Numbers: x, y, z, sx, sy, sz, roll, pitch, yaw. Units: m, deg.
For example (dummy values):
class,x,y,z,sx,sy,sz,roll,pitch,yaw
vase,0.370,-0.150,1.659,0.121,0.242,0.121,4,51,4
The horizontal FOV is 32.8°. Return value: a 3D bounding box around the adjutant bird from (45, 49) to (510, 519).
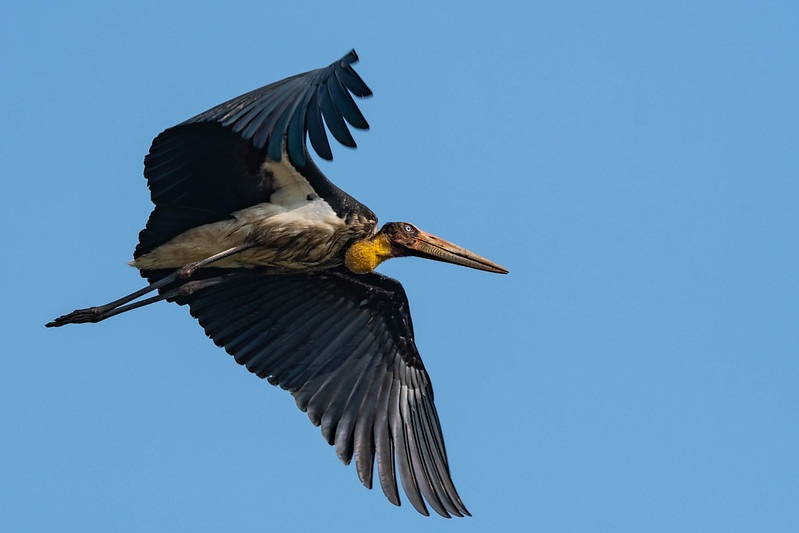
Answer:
class,x,y,z,sx,sy,sz,roll,pitch,yaw
adjutant bird,-1.075,0.188,14.337,4.524,1.676,5.555,-4,-52,15
